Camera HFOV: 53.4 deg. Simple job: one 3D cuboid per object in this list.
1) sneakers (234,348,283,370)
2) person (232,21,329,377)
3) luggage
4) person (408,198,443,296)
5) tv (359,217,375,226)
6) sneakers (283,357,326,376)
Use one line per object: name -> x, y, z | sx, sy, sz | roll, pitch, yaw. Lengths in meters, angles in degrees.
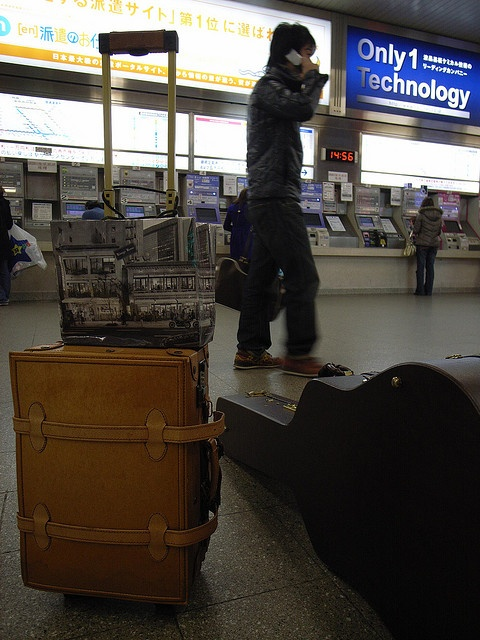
sneakers -> 0.086, 0.176, 2.251 | 0.218, 0.103, 0.087 | -1, 4, -20
person -> 0.171, -0.476, 2.017 | 0.267, 1.442, 0.481 | -4, 8, -30
luggage -> -0.175, -0.064, 0.789 | 0.320, 0.933, 0.352 | 1, 7, 7
person -> 2.582, -1.022, 6.639 | 0.385, 1.355, 0.462 | 2, 7, 10
tv -> 1.868, -1.466, 7.129 | 0.291, 0.178, 0.117 | -4, 8, -30
sneakers -> 0.263, 0.185, 2.006 | 0.182, 0.087, 0.073 | 2, 7, 17
